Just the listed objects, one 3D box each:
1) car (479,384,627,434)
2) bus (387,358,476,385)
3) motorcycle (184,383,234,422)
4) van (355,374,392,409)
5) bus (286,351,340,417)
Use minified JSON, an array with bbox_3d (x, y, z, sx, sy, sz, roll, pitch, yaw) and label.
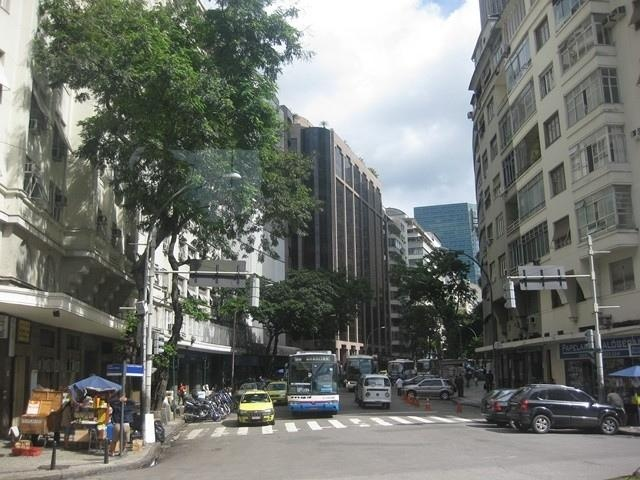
[{"bbox_3d":[10.679,7.784,29.998,5.283,2.515,2.681,-5,-18,7],"label":"car"},{"bbox_3d":[13.178,15.786,80.504,10.425,5.231,5.341,0,-9,3],"label":"bus"},{"bbox_3d":[-6.489,9.403,37.761,2.527,1.995,1.776,-2,-5,-1],"label":"motorcycle"},{"bbox_3d":[3.519,10.078,44.054,1.287,1.471,2.941,1,-7,-4],"label":"van"},{"bbox_3d":[-0.410,8.088,37.448,2.804,3.344,1.237,1,-16,-11],"label":"bus"}]
